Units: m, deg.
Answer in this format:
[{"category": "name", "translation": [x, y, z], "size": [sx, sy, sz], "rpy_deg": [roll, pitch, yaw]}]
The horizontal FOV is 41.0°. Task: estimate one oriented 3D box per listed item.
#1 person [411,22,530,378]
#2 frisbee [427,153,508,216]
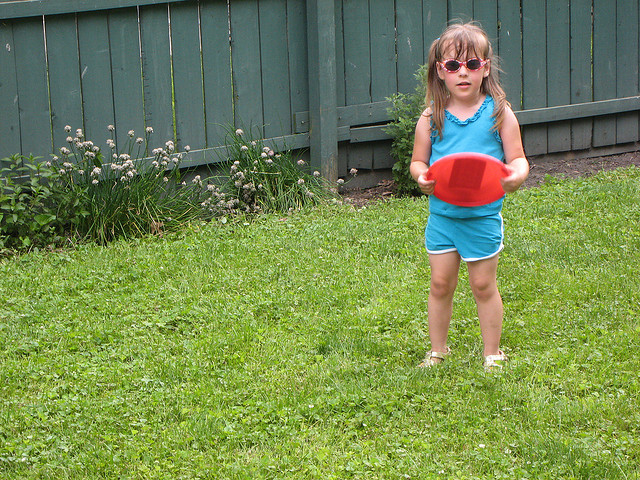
[{"category": "person", "translation": [0.915, -0.253, 5.328], "size": [0.745, 2.149, 0.488], "rpy_deg": [-3, 8, 12]}, {"category": "frisbee", "translation": [0.892, -0.337, 5.231], "size": [0.489, 0.114, 0.518], "rpy_deg": [2, -20, 11]}]
